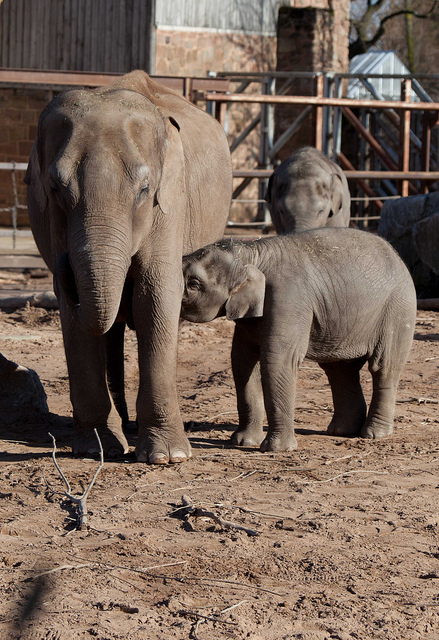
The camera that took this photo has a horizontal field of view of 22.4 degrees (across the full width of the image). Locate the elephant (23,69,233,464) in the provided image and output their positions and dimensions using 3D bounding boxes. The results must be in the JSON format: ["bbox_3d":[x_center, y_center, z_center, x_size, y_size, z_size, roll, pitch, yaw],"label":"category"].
[{"bbox_3d":[-0.441,-0.200,4.918,0.853,1.586,1.954,0,1,2],"label":"elephant"}]

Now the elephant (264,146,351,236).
[{"bbox_3d":[0.533,-0.664,6.859,0.539,0.728,1.172,3,4,9],"label":"elephant"}]
